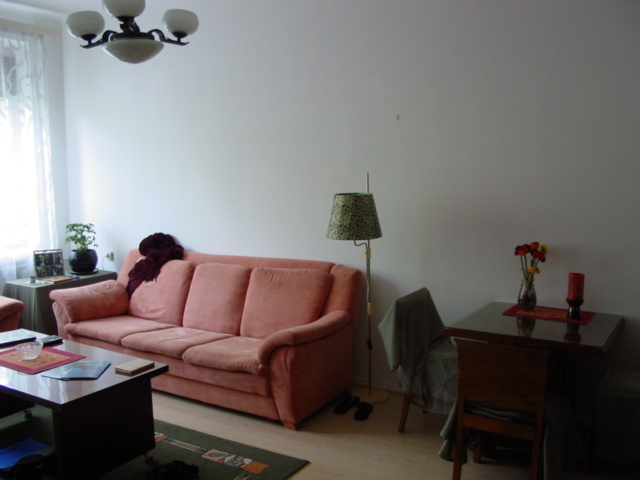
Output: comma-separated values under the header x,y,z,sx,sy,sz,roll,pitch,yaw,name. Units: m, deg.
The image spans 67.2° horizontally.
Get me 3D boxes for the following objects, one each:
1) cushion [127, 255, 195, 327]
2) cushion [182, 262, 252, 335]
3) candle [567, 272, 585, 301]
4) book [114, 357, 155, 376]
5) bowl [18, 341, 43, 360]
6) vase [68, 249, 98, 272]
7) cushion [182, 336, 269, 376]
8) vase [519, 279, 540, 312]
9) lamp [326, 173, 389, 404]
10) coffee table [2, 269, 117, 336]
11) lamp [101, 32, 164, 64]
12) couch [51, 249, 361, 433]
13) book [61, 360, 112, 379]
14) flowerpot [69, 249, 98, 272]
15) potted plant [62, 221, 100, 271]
x,y,z,sx,sy,sz,roll,pitch,yaw,name
-1.467,0.505,4.541,0.602,0.600,0.268,5,-7,38,cushion
-0.878,0.513,4.340,0.584,0.609,0.386,8,10,31,cushion
1.664,0.304,3.120,0.094,0.166,0.087,4,9,18,candle
-1.208,0.824,3.139,0.236,0.038,0.197,5,8,28,book
-1.960,0.733,3.288,0.119,0.096,0.120,5,8,-1,bowl
-2.580,0.219,5.251,0.238,0.175,0.234,3,2,24,vase
-0.622,0.870,3.731,0.767,0.185,0.482,5,8,27,cushion
1.421,0.370,3.295,0.144,0.224,0.152,-5,6,-29,vase
0.344,0.382,3.811,0.451,1.789,0.547,5,9,24,lamp
-2.743,0.570,5.048,0.675,0.564,0.976,7,9,27,coffee table
-1.130,-1.176,2.910,0.306,0.142,0.281,6,9,32,lamp
-0.907,0.717,4.114,2.311,1.053,0.941,5,9,27,couch
-1.515,0.835,3.144,0.242,0.016,0.349,0,8,-9,book
-2.586,0.217,5.259,0.240,0.195,0.236,3,0,12,flowerpot
-2.611,0.082,5.284,0.361,0.566,0.334,0,-2,-43,potted plant
